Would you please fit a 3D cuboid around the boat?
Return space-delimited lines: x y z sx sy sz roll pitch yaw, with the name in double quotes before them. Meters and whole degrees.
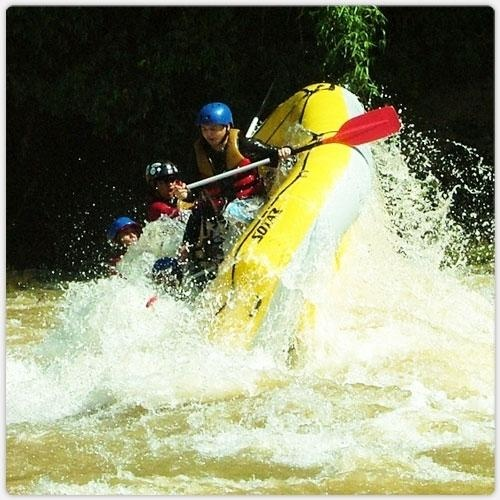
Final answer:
"boat" 0.184 -0.371 4.763 1.154 2.113 0.396 14 -20 49
